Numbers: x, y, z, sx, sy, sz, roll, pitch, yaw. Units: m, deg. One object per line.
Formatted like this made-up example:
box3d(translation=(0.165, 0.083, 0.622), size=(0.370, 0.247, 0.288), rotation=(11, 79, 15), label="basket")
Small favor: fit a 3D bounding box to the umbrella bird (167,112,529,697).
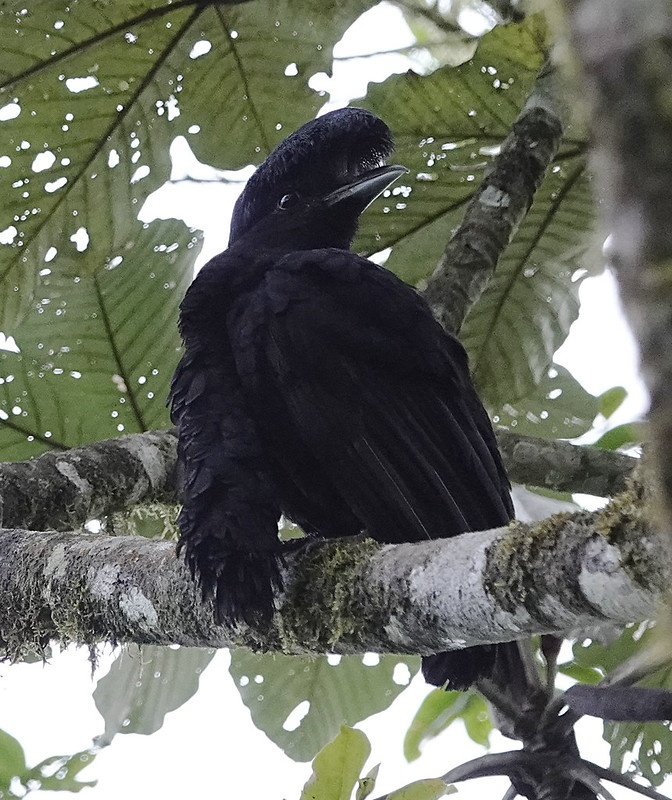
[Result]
box3d(translation=(0.011, -0.080, 4.030), size=(0.869, 1.555, 0.692), rotation=(-3, -23, -10), label="umbrella bird")
